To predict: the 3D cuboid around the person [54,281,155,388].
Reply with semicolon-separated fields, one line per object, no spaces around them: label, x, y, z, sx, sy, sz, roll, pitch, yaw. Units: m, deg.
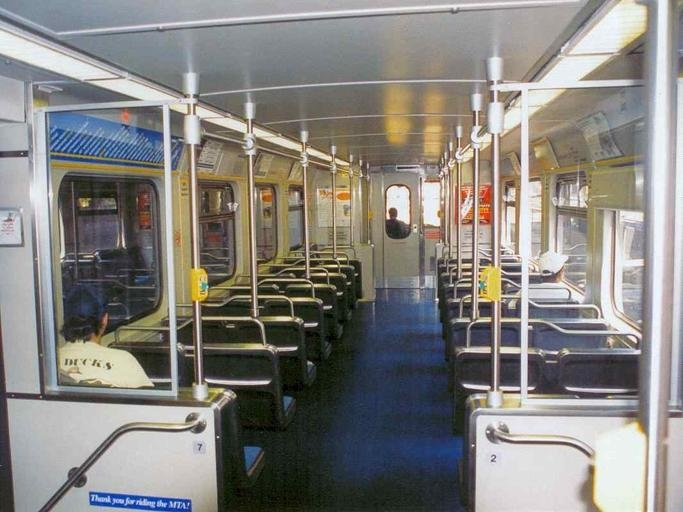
person;-1.677;0.561;3.993;0.474;0.559;0.833;-6;9;-40
